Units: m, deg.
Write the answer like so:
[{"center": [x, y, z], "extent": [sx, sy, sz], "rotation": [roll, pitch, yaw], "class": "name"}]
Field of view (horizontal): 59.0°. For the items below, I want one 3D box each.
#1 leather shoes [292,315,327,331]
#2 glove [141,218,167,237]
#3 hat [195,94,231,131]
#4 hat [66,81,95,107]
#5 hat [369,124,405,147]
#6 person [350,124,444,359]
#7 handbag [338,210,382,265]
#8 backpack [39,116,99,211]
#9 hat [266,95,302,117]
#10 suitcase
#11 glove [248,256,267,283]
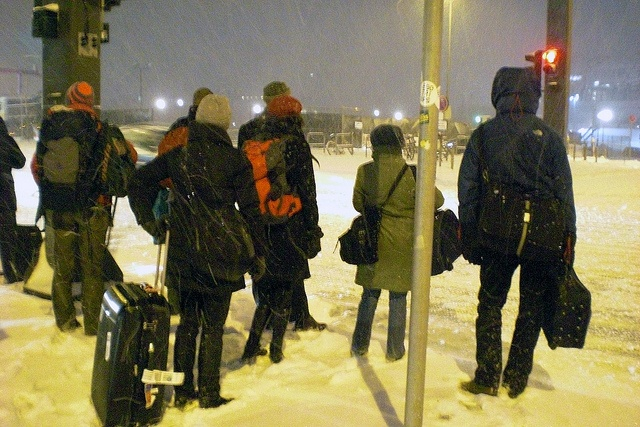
[{"center": [-0.154, 1.432, 7.566], "extent": [0.524, 0.260, 0.176], "rotation": [-3, -4, -2], "class": "leather shoes"}, {"center": [-1.729, 0.154, 5.933], "extent": [0.174, 0.134, 0.202], "rotation": [9, 13, 38], "class": "glove"}, {"center": [-1.105, -1.041, 5.866], "extent": [0.356, 0.363, 0.228], "rotation": [-1, 9, -14], "class": "hat"}, {"center": [-2.977, -1.494, 7.032], "extent": [0.232, 0.318, 0.339], "rotation": [4, 23, -5], "class": "hat"}, {"center": [0.774, -0.905, 6.577], "extent": [0.314, 0.341, 0.259], "rotation": [-3, 6, -21], "class": "hat"}, {"center": [0.736, 0.353, 6.671], "extent": [0.728, 2.752, 0.432], "rotation": [3, 9, 15], "class": "person"}, {"center": [0.485, 0.277, 6.703], "extent": [0.247, 0.657, 0.481], "rotation": [11, 7, -6], "class": "handbag"}, {"center": [-3.057, -0.631, 6.867], "extent": [0.695, 1.211, 0.207], "rotation": [1, 8, -1], "class": "backpack"}, {"center": [-0.426, -1.273, 6.561], "extent": [0.302, 0.193, 0.258], "rotation": [-8, 21, -32], "class": "hat"}, {"center": [2.611, 0.992, 5.965], "extent": [0.467, 0.931, 0.248], "rotation": [4, 9, 19], "class": "suitcase"}, {"center": [-0.683, 0.599, 6.238], "extent": [0.172, 0.262, 0.256], "rotation": [1, 54, 0], "class": "glove"}]
